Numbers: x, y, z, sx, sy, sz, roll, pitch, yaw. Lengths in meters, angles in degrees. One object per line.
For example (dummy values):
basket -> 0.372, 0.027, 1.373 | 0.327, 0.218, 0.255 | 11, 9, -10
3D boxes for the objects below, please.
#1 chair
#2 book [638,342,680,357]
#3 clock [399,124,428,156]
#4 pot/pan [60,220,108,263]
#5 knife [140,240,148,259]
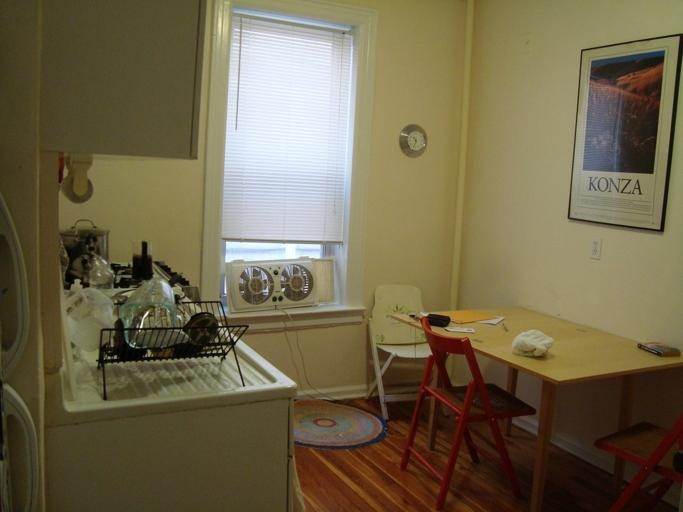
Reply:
chair -> 1.050, 0.826, 3.057 | 1.007, 0.822, 1.299 | -4, 11, -32
book -> 1.632, 0.483, 2.783 | 0.132, 0.034, 0.198 | -7, 13, -44
clock -> 0.528, -0.842, 4.009 | 0.196, 0.053, 0.210 | 22, -11, -9
pot/pan -> -1.211, -0.067, 2.521 | 0.208, 0.253, 0.223 | 1, 1, -5
knife -> -0.920, -0.031, 2.521 | 0.033, 0.081, 0.049 | -2, 9, -22
